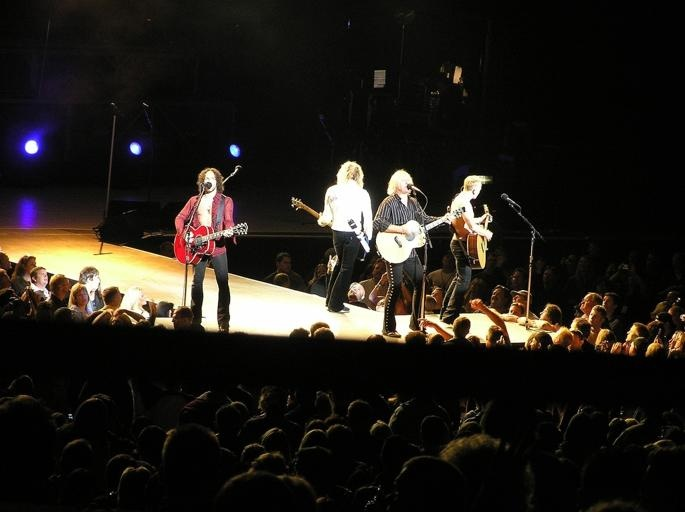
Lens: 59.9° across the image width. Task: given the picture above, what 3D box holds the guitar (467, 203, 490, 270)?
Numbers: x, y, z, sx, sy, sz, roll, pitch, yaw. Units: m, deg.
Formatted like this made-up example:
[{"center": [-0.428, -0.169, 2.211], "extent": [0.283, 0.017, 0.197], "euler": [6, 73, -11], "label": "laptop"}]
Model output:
[{"center": [1.736, -0.216, 7.495], "extent": [0.144, 0.464, 1.168], "euler": [-3, 38, 18], "label": "guitar"}]

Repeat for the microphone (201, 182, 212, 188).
[{"center": [-1.470, -0.771, 6.471], "extent": [0.102, 0.056, 0.028], "euler": [8, -4, -14], "label": "microphone"}]

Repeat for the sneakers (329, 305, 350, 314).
[{"center": [-0.008, 0.658, 7.206], "extent": [0.294, 0.123, 0.092], "euler": [6, 0, 42], "label": "sneakers"}]

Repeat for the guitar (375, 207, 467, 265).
[{"center": [0.882, -0.292, 6.707], "extent": [1.022, 0.408, 0.120], "euler": [-31, 10, -13], "label": "guitar"}]
